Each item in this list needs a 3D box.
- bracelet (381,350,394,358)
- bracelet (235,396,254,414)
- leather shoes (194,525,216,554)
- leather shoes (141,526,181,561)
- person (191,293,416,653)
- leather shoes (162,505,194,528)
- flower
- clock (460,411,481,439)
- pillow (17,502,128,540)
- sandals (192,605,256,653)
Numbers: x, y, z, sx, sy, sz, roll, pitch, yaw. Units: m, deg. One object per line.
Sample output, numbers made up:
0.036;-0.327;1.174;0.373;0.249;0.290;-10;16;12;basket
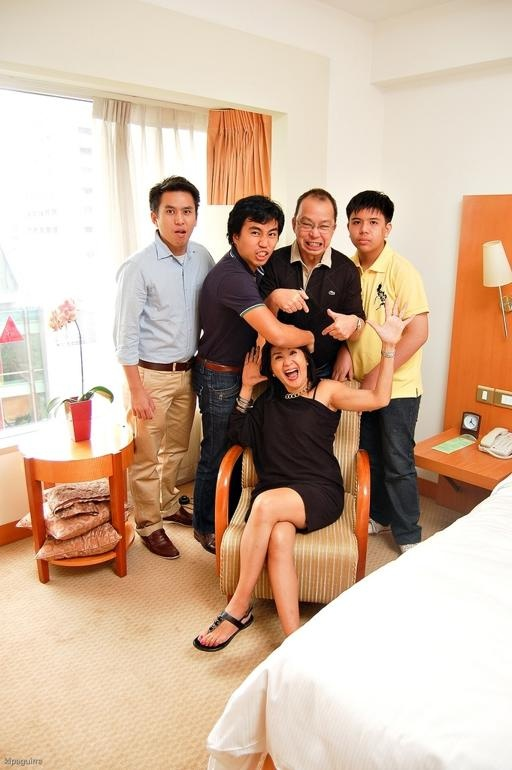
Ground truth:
0.481;-0.113;1.931;0.043;0.033;0.040;2;11;6;bracelet
-0.045;0.082;2.278;0.068;0.062;0.065;9;6;8;bracelet
-0.240;0.763;2.657;0.063;0.084;0.187;-6;20;-38;leather shoes
-0.464;0.749;2.601;0.088;0.094;0.238;-4;14;-42;leather shoes
0.125;0.297;1.956;0.584;1.151;0.813;5;13;25;person
-0.401;0.714;2.874;0.200;0.096;0.077;-1;0;12;leather shoes
-0.856;-0.138;2.570;0.267;0.561;0.627;-4;12;-19;flower
1.201;0.223;2.959;0.125;0.200;0.043;2;-11;42;clock
-0.759;0.575;2.263;0.196;0.064;0.199;-17;12;-39;pillow
-0.095;0.871;1.980;0.252;0.108;0.106;-24;26;-31;sandals
